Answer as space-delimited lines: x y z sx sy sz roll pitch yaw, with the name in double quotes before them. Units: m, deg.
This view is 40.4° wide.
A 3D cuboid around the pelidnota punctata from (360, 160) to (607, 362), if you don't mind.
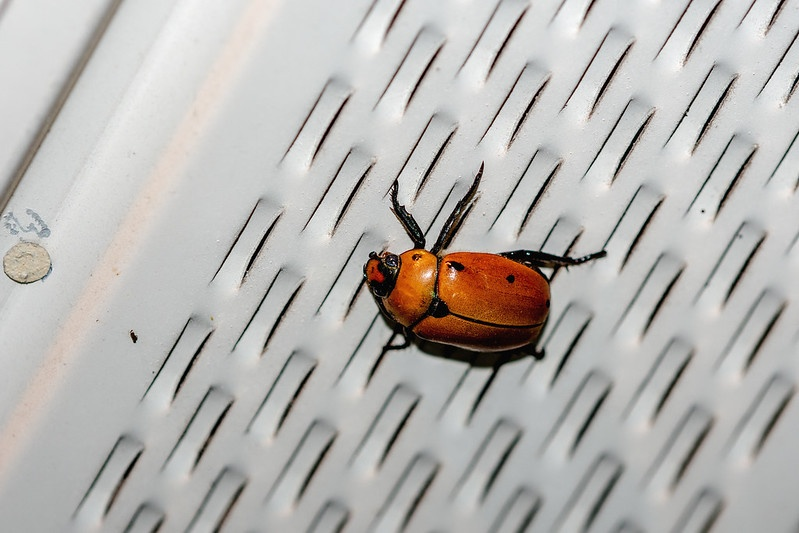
"pelidnota punctata" 0.145 0.000 2.730 0.457 0.240 0.382 4 61 -5
